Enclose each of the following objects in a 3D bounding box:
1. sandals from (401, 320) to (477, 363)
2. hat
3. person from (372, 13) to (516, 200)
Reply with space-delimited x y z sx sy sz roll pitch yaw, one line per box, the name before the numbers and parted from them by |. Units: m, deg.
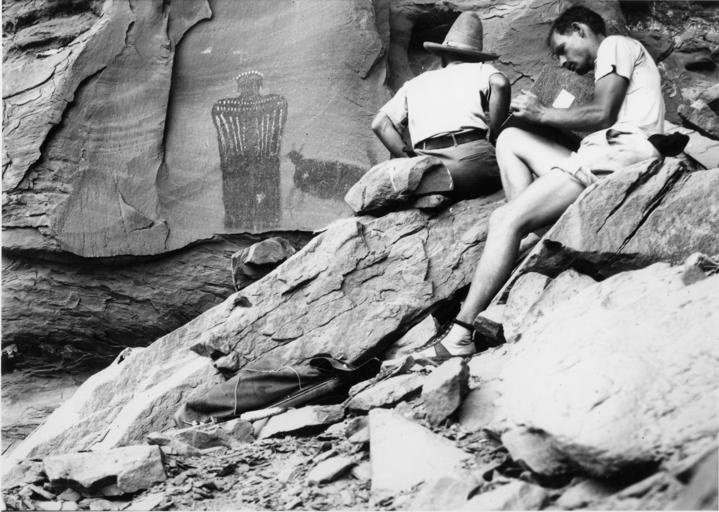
sandals | 0.531 0.520 7.328 0.473 0.227 0.158 -4 2 37
hat | 0.728 -1.509 8.134 0.561 0.293 0.412 8 19 17
person | 0.590 -0.995 8.309 0.887 1.347 0.801 -2 -11 -1
